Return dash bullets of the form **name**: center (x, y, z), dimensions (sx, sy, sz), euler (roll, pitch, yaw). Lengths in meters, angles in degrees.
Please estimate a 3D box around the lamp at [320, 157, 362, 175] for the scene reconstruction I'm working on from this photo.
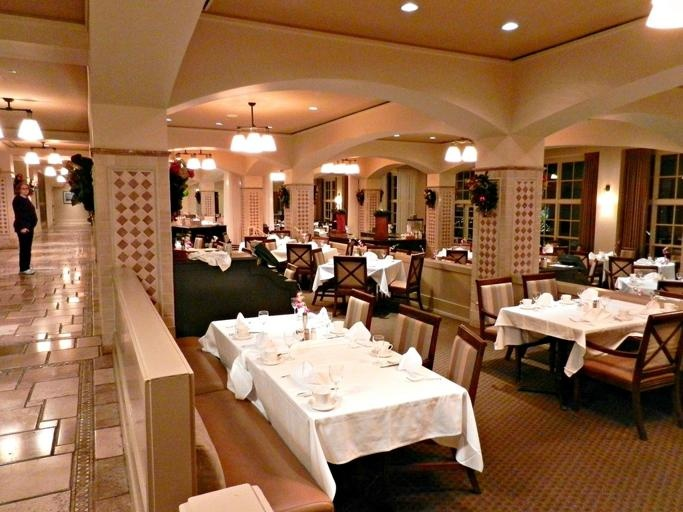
- **lamp**: center (0.017, -3.201, 16.828), dimensions (1.175, 0.682, 3.629), euler (1, 6, 3)

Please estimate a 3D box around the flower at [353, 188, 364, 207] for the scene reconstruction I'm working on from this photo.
- **flower**: center (0.779, -2.405, 19.609), dimensions (0.272, 0.652, 0.815), euler (0, 7, -7)

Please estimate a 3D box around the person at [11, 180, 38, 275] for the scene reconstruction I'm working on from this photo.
- **person**: center (-6.562, -0.565, 9.897), dimensions (0.387, 1.904, 0.859), euler (-4, 9, -34)

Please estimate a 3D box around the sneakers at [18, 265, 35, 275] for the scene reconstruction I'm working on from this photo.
- **sneakers**: center (-6.673, 0.332, 10.122), dimensions (0.311, 0.138, 0.122), euler (1, 6, -21)

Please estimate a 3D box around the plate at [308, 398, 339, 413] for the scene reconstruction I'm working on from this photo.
- **plate**: center (-0.123, 1.053, 3.403), dimensions (0.213, 0.063, 0.138), euler (1, 7, -3)
